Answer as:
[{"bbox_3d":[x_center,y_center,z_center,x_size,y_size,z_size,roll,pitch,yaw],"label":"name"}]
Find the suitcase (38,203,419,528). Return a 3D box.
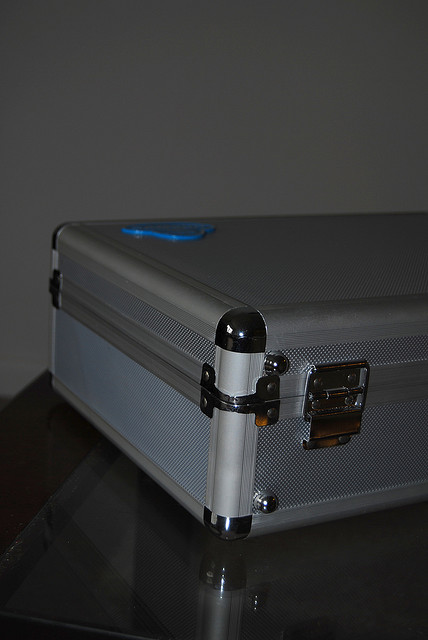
[{"bbox_3d":[0.006,0.017,0.575,0.338,0.163,0.341,-2,19,-24],"label":"suitcase"}]
